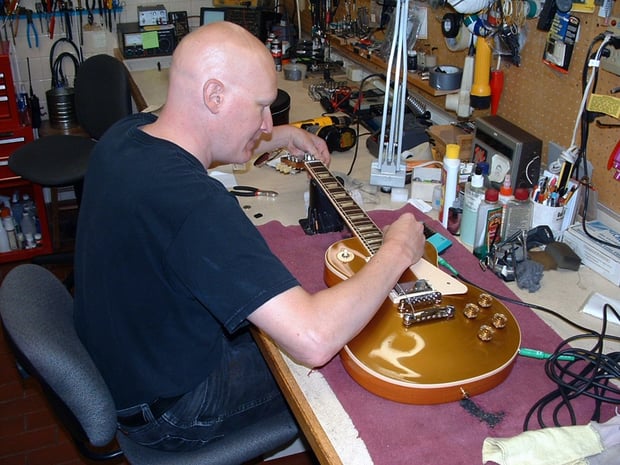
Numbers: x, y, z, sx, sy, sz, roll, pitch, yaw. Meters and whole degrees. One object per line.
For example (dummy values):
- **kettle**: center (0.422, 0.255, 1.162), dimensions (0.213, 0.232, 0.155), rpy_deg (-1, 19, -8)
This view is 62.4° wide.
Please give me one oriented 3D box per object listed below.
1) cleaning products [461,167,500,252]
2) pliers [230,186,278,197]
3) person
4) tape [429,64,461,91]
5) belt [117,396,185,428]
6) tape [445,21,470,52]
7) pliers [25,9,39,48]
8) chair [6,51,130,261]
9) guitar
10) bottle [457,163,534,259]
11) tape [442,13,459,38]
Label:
- **cleaning products**: center (0.520, -0.079, 1.695), dimensions (0.114, 0.254, 0.104), rpy_deg (13, 19, 11)
- **pliers**: center (-0.226, -0.156, 1.969), dimensions (0.129, 0.022, 0.074), rpy_deg (5, 14, -1)
- **person**: center (-0.208, 0.059, 1.340), dimensions (0.843, 1.106, 0.501), rpy_deg (10, 25, 23)
- **tape**: center (0.604, -0.691, 2.275), dimensions (0.115, 0.075, 0.124), rpy_deg (8, 40, 15)
- **belt**: center (-0.441, 0.482, 1.386), dimensions (0.155, 0.083, 0.025), rpy_deg (-31, 34, 15)
- **tape**: center (0.642, -0.825, 2.195), dimensions (0.026, 0.089, 0.063), rpy_deg (-15, 52, -13)
- **pliers**: center (-1.990, -1.440, 3.628), dimensions (0.076, 0.212, 0.024), rpy_deg (-10, 24, -24)
- **chair**: center (-1.376, -0.380, 2.964), dimensions (0.693, 1.201, 0.714), rpy_deg (0, 26, -15)
- **guitar**: center (0.167, 0.053, 1.588), dimensions (0.448, 0.138, 1.118), rpy_deg (-9, 37, -19)
- **bottle**: center (0.599, -0.058, 1.638), dimensions (0.250, 0.373, 0.128), rpy_deg (-2, 34, 0)
- **tape**: center (0.588, -0.863, 2.142), dimensions (0.023, 0.083, 0.084), rpy_deg (-3, 55, -15)
